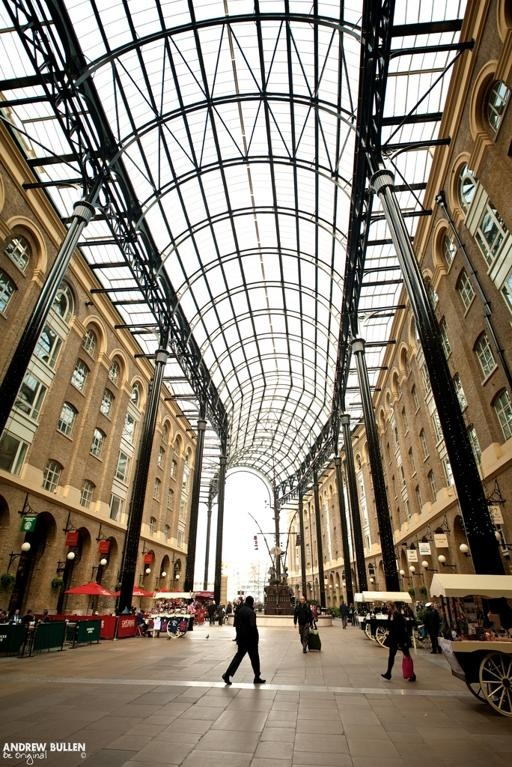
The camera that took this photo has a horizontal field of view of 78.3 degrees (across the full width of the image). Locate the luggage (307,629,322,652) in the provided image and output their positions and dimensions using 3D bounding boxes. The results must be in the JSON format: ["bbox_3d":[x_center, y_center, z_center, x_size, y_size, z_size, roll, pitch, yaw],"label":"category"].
[{"bbox_3d":[2.242,9.803,12.074,0.505,0.672,0.721,-2,-27,6],"label":"luggage"}]

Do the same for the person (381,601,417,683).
[{"bbox_3d":[3.111,5.674,7.018,0.774,1.493,0.398,6,-14,2],"label":"person"}]
